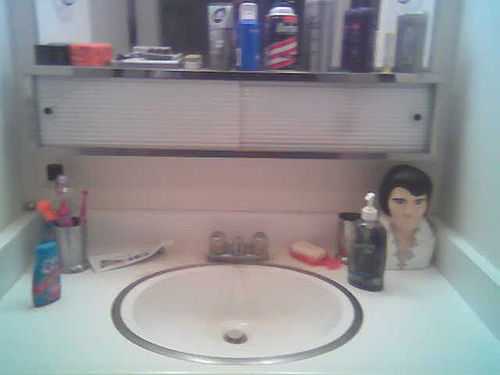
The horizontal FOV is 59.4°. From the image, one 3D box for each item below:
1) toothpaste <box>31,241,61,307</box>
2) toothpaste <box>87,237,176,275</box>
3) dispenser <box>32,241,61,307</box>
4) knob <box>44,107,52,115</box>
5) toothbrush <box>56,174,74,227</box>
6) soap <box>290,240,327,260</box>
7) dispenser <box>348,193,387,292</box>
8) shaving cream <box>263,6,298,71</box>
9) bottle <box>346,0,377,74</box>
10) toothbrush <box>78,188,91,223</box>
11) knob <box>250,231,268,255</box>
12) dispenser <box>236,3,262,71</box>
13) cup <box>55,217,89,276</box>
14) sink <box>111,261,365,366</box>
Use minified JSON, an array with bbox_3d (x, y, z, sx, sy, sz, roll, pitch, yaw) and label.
[{"bbox_3d":[-0.567,0.246,1.227,0.036,0.178,0.087,14,17,33],"label":"toothpaste"},{"bbox_3d":[-0.389,0.220,1.480,0.295,0.046,0.106,-10,17,-30],"label":"toothpaste"},{"bbox_3d":[-0.567,0.248,1.228,0.035,0.180,0.086,14,17,35],"label":"dispenser"},{"bbox_3d":[-0.594,-0.225,1.294,0.018,0.017,0.017,1,22,-1],"label":"knob"},{"bbox_3d":[-0.591,0.042,1.394,0.041,0.164,0.078,-9,17,-23],"label":"toothbrush"},{"bbox_3d":[0.201,0.204,1.485,0.093,0.031,0.056,14,20,38],"label":"soap"},{"bbox_3d":[0.347,0.146,1.329,0.088,0.315,0.162,1,1,-13],"label":"dispenser"},{"bbox_3d":[0.093,-0.460,1.356,0.107,0.193,0.057,-2,16,2],"label":"shaving cream"},{"bbox_3d":[0.344,-0.466,1.348,0.090,0.226,0.191,2,16,13],"label":"bottle"},{"bbox_3d":[-0.558,0.055,1.474,0.036,0.118,0.029,14,55,-12],"label":"toothbrush"},{"bbox_3d":[0.034,0.185,1.493,0.075,0.035,0.102,-2,6,0],"label":"knob"},{"bbox_3d":[-0.006,-0.451,1.325,0.076,0.194,0.062,-2,16,0],"label":"dispenser"},{"bbox_3d":[-0.567,0.188,1.426,0.096,0.145,0.091,2,5,0],"label":"cup"},{"bbox_3d":[-0.033,0.374,1.253,0.700,0.152,0.460,1,15,9],"label":"sink"}]
